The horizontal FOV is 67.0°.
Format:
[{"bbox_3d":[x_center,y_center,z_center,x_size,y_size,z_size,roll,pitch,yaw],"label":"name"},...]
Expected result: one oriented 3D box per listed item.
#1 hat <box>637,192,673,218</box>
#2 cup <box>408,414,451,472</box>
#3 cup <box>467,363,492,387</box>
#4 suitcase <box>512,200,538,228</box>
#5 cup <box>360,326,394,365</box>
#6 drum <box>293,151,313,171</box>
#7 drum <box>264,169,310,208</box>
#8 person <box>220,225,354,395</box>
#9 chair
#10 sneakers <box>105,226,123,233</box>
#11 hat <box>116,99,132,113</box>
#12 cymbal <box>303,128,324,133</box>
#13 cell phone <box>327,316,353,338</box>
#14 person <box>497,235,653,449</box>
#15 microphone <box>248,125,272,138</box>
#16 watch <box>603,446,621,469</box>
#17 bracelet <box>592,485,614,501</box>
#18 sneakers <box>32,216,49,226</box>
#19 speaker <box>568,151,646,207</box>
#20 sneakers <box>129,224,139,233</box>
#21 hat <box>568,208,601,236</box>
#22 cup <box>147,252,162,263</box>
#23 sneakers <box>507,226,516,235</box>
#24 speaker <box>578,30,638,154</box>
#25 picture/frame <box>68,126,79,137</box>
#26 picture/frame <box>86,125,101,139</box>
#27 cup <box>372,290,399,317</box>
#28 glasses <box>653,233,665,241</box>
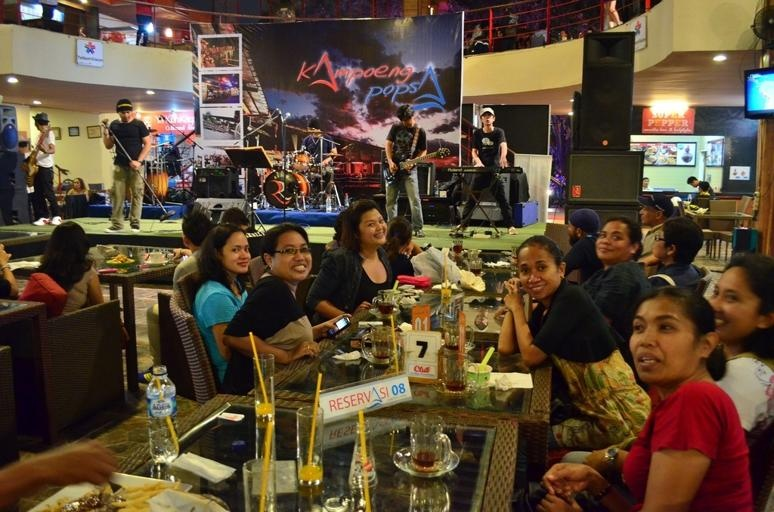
[{"bbox_3d":[2.674,-0.504,5.795,0.165,0.238,0.293,-9,11,-44],"label":"hat"},{"bbox_3d":[0.158,0.672,2.108,0.141,0.168,0.110,0,8,4],"label":"cup"},{"bbox_3d":[0.432,0.558,2.713,0.097,0.073,0.098,-1,2,0],"label":"cup"},{"bbox_3d":[2.610,-0.798,10.968,0.161,0.464,1.408,3,8,28],"label":"suitcase"},{"bbox_3d":[-0.032,0.444,2.906,0.195,0.165,0.120,-1,0,0],"label":"cup"},{"bbox_3d":[-1.634,-1.892,11.477,0.392,0.369,0.384,0,14,-7],"label":"drum"},{"bbox_3d":[-1.899,-1.292,11.205,0.626,0.755,0.897,2,8,19],"label":"drum"},{"bbox_3d":[-0.650,0.486,3.341,0.579,1.253,0.685,8,10,40],"label":"person"},{"bbox_3d":[5.098,-0.457,8.956,1.155,0.796,1.144,0,13,9],"label":"chair"},{"bbox_3d":[-4.421,-0.432,9.508,0.305,0.129,0.109,7,0,-22],"label":"sneakers"},{"bbox_3d":[-3.896,-2.250,8.692,0.168,0.203,0.324,-6,9,-30],"label":"hat"},{"bbox_3d":[-1.494,-2.599,12.076,0.359,0.148,0.630,-2,8,-8],"label":"cymbal"},{"bbox_3d":[-0.265,0.413,3.352,0.131,0.032,0.071,-33,38,5],"label":"cell phone"},{"bbox_3d":[0.971,0.457,2.986,0.678,1.178,0.474,6,-35,9],"label":"person"},{"bbox_3d":[-2.712,-2.684,12.565,0.447,0.183,0.103,-27,-1,15],"label":"microphone"},{"bbox_3d":[0.954,0.857,2.481,0.050,0.071,0.079,4,13,28],"label":"watch"},{"bbox_3d":[0.897,0.984,2.425,0.061,0.017,0.063,-28,3,25],"label":"bracelet"},{"bbox_3d":[-6.566,-0.649,11.187,0.231,0.165,0.423,2,1,1],"label":"sneakers"},{"bbox_3d":[2.560,-0.912,6.896,1.050,0.752,0.569,1,6,10],"label":"speaker"},{"bbox_3d":[-4.089,-0.456,9.475,0.139,0.146,0.363,-2,4,-30],"label":"sneakers"},{"bbox_3d":[1.787,-0.295,5.247,0.298,0.254,0.203,-2,8,-7],"label":"hat"},{"bbox_3d":[-2.106,0.017,5.331,0.093,0.076,0.105,-1,-7,-5],"label":"cup"},{"bbox_3d":[1.963,-0.410,9.171,0.085,0.103,0.248,-3,-2,5],"label":"sneakers"},{"bbox_3d":[2.494,-1.907,6.706,0.599,1.376,0.333,1,8,16],"label":"speaker"},{"bbox_3d":[-9.451,-3.802,17.630,0.315,0.286,0.033,0,25,-5],"label":"picture/frame"},{"bbox_3d":[-8.896,-3.813,17.716,0.416,0.380,0.043,2,11,-6],"label":"picture/frame"},{"bbox_3d":[0.007,0.292,3.569,0.177,0.159,0.110,-3,6,-19],"label":"cup"},{"bbox_3d":[2.131,-0.150,4.573,0.064,0.031,0.086,-13,37,48],"label":"glasses"}]
